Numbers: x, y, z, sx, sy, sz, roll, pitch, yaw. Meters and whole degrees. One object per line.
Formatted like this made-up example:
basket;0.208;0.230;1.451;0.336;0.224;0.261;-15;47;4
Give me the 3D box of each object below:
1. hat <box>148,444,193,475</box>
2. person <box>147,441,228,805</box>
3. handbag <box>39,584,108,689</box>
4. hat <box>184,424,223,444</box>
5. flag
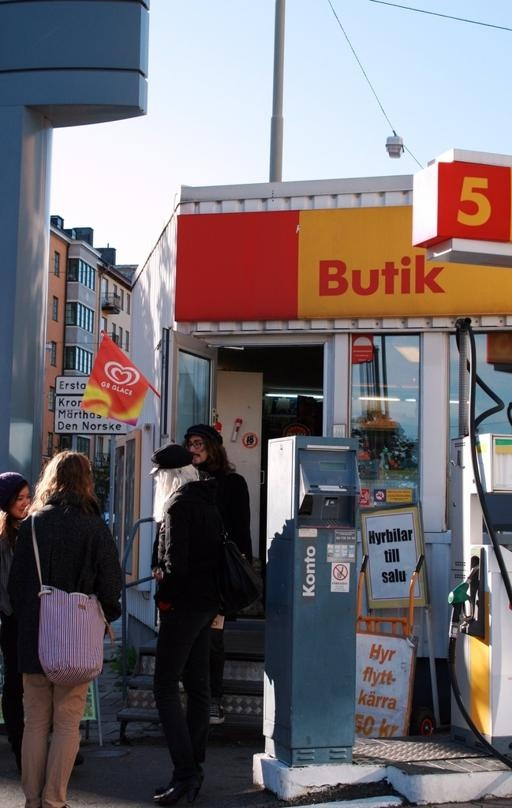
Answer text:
hat;-0.417;0.267;5.490;0.164;0.104;0.131;-5;9;25
person;-0.329;1.025;5.355;0.353;1.652;0.428;2;-3;-6
handbag;-0.782;0.981;4.785;0.226;0.435;0.351;-14;-17;42
hat;-0.285;0.172;6.559;0.161;0.074;0.116;29;-25;-27
flag;-1.093;-0.189;8.819;0.506;0.673;0.253;2;-3;-11
